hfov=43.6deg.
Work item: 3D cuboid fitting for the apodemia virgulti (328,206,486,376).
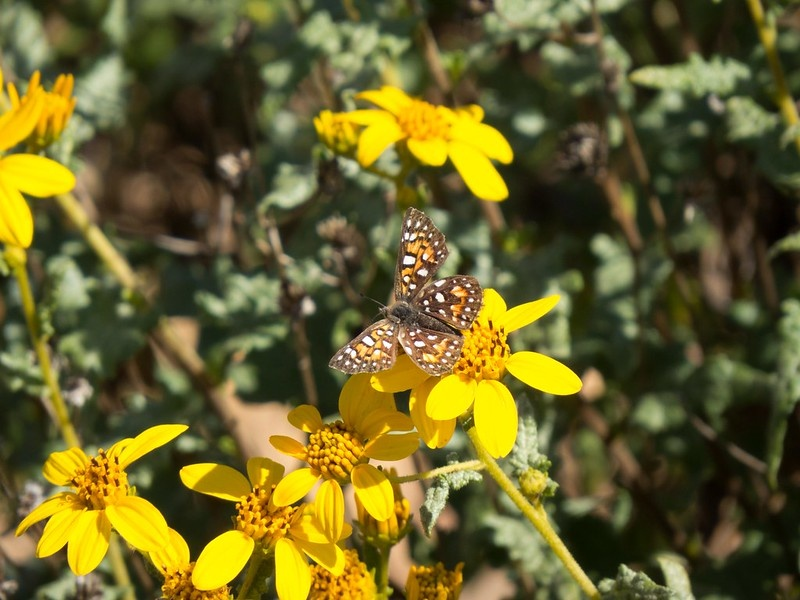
[{"bbox_3d":[0.074,0.058,3.016,0.350,0.160,0.683,15,48,20],"label":"apodemia virgulti"}]
